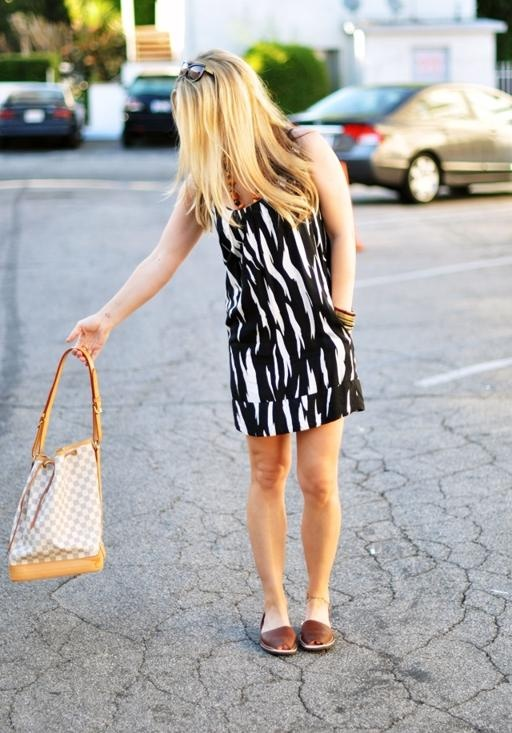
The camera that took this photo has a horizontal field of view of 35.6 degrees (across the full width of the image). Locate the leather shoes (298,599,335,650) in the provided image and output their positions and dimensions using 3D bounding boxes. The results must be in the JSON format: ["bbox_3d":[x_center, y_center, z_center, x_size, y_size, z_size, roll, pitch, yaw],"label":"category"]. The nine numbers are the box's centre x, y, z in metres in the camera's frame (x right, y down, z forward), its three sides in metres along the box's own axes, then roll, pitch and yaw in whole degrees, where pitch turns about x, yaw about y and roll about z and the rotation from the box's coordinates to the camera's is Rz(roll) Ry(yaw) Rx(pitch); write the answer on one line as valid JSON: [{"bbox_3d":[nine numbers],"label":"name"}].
[{"bbox_3d":[0.178,0.758,2.331,0.103,0.062,0.258,0,5,5],"label":"leather shoes"}]

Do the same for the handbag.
[{"bbox_3d":[-0.615,0.350,2.209,0.320,0.499,0.362,2,-1,-21],"label":"handbag"}]

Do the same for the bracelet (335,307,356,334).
[{"bbox_3d":[0.237,-0.125,2.154,0.053,0.057,0.062,-3,25,4],"label":"bracelet"}]

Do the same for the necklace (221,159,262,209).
[{"bbox_3d":[-0.037,-0.460,2.030,0.091,0.117,0.108,-11,15,4],"label":"necklace"}]

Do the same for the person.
[{"bbox_3d":[-0.039,-0.028,2.260,0.645,1.629,0.339,8,17,32],"label":"person"}]

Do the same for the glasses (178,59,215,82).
[{"bbox_3d":[-0.142,-0.745,2.016,0.078,0.030,0.077,14,-15,48],"label":"glasses"}]
